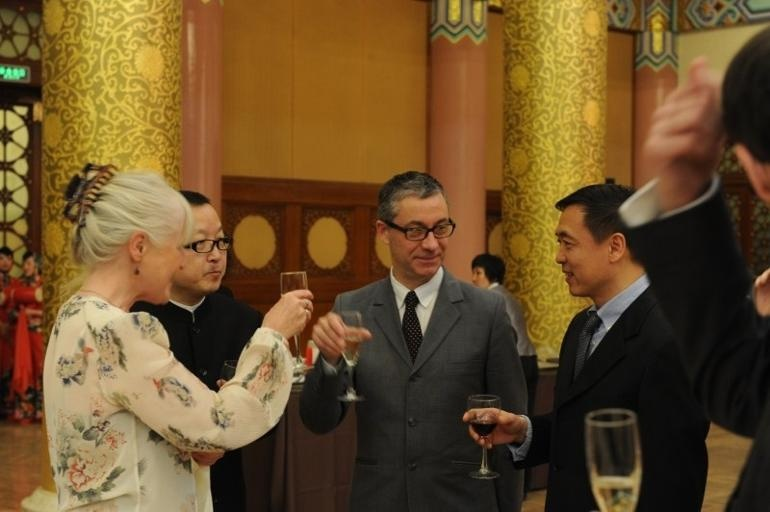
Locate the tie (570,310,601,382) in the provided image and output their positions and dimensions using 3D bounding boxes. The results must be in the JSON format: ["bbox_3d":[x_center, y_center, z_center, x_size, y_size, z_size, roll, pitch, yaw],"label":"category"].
[{"bbox_3d":[0.771,0.334,2.726,0.084,0.301,0.044,8,-30,33],"label":"tie"}]

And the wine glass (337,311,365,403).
[{"bbox_3d":[-0.144,0.409,2.890,0.090,0.252,0.276,-2,1,-4],"label":"wine glass"}]
